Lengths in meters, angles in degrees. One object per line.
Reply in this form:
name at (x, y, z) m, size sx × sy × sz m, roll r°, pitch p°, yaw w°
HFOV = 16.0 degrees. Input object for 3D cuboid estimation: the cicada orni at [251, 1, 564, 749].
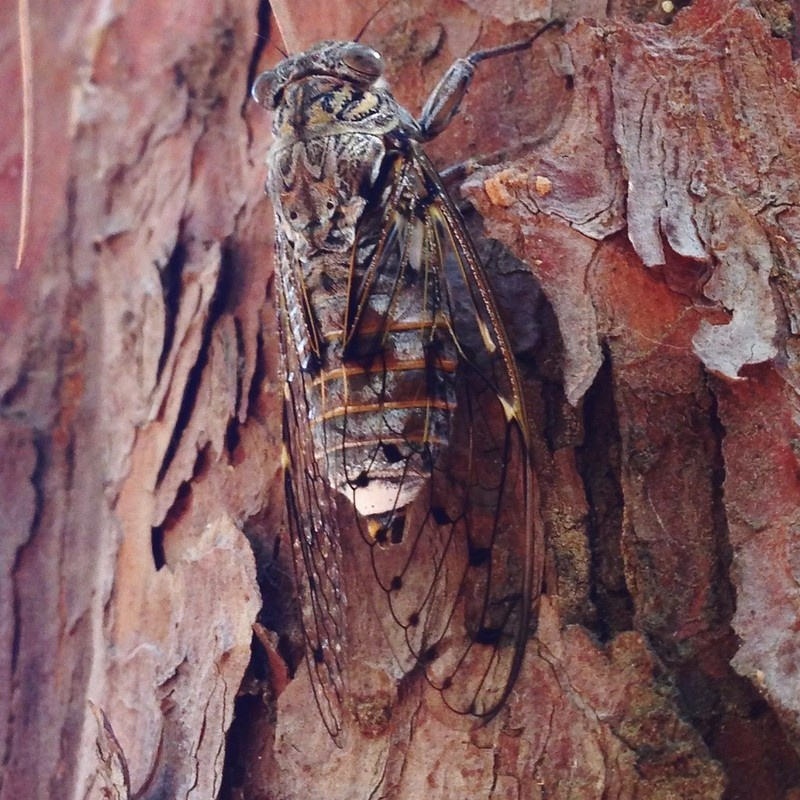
cicada orni at (0.001, -0.010, 3.046) m, size 0.302 × 0.795 × 0.198 m, roll -7°, pitch -8°, yaw 25°
